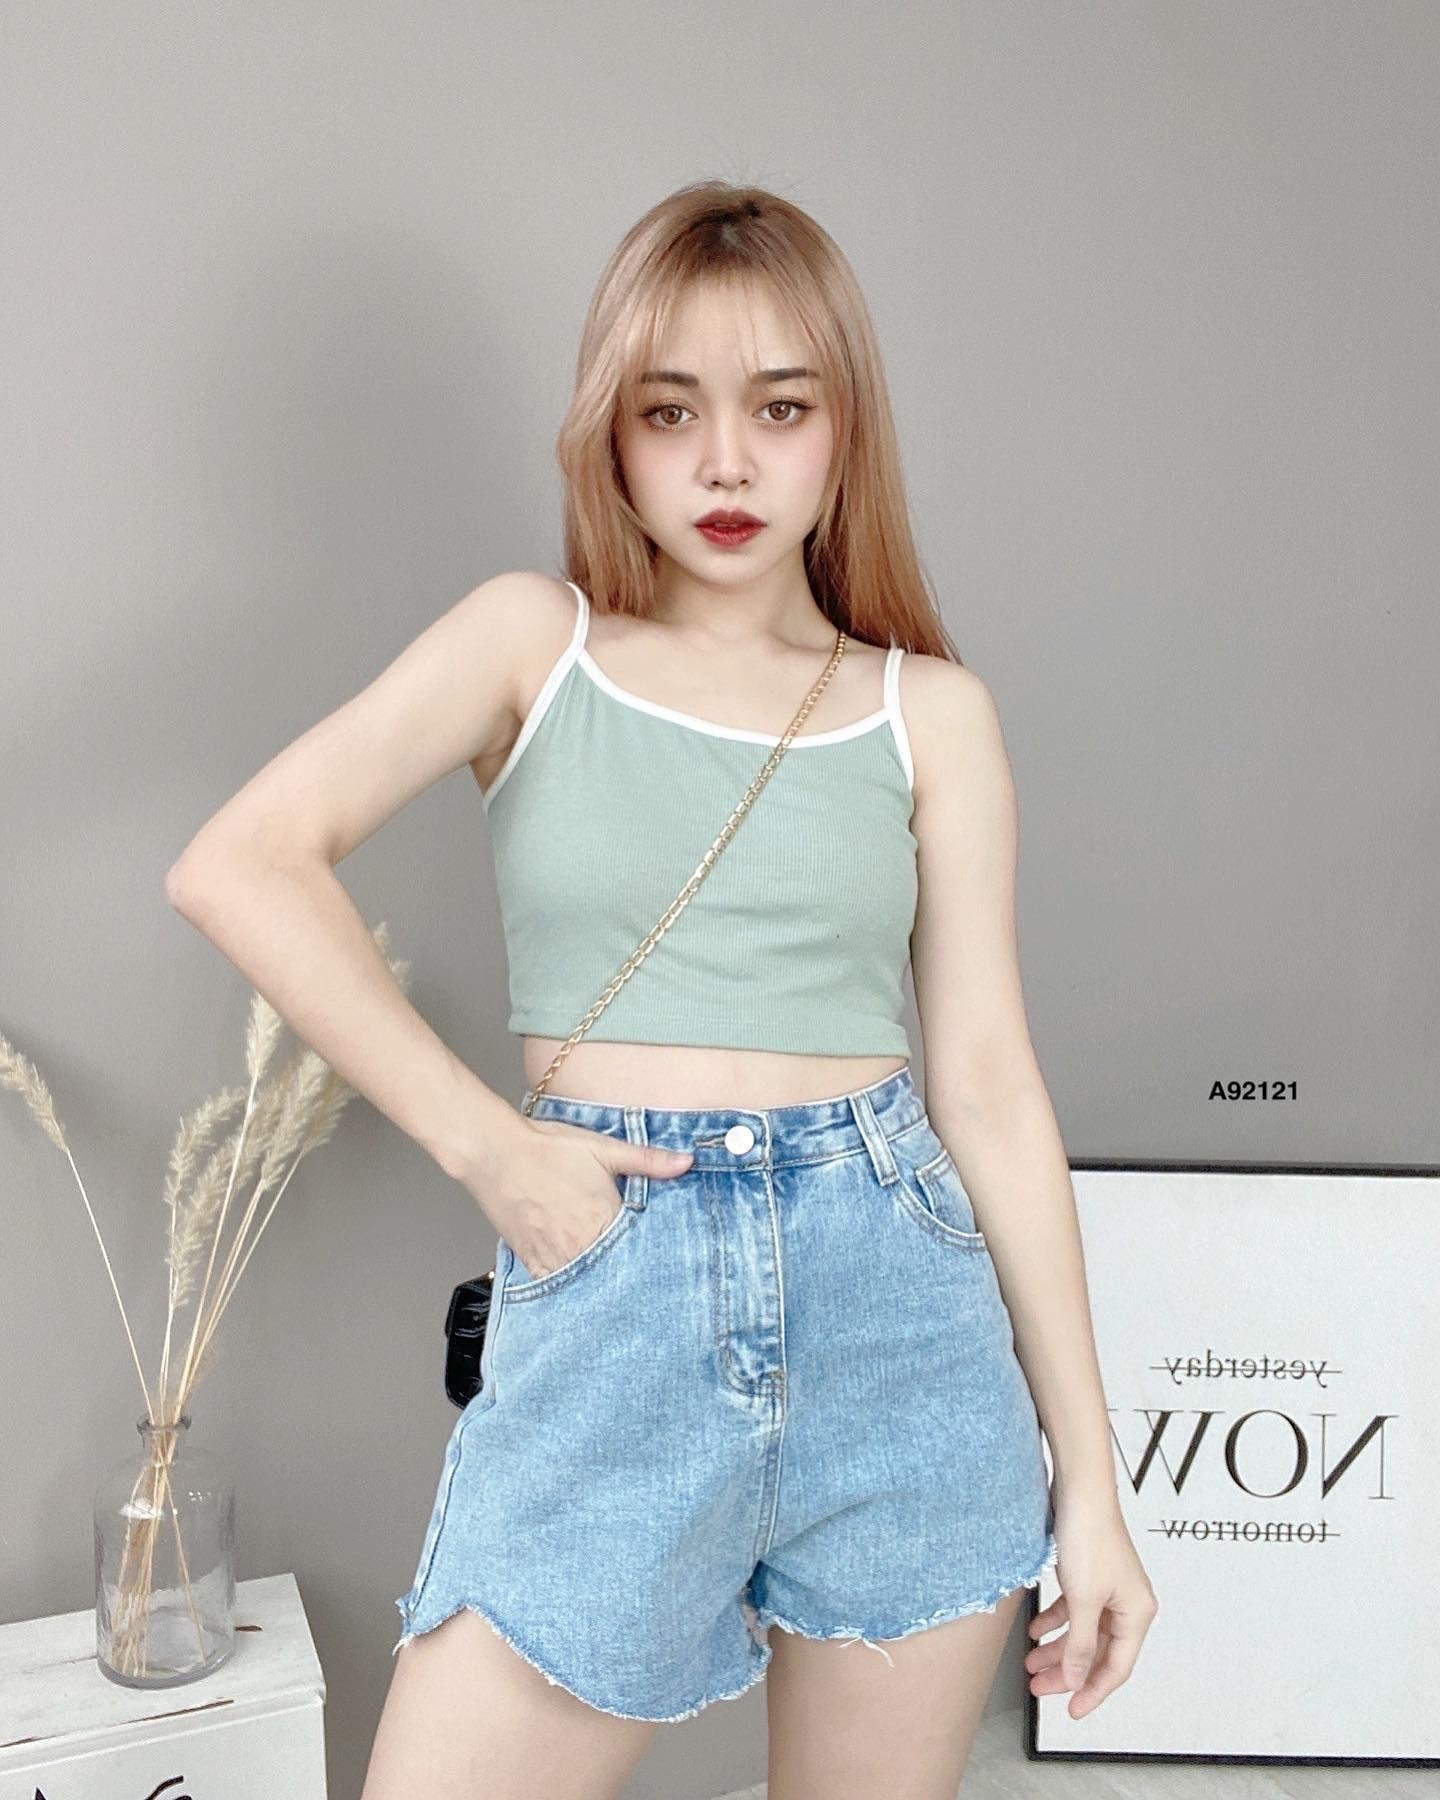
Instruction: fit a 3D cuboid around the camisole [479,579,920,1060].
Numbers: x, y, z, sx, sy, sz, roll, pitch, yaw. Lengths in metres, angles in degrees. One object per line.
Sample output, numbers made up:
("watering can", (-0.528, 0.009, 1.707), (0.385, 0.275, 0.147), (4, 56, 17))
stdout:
("camisole", (-0.017, -0.058, 1.421), (0.435, 0.334, 0.209), (4, -10, -13))
